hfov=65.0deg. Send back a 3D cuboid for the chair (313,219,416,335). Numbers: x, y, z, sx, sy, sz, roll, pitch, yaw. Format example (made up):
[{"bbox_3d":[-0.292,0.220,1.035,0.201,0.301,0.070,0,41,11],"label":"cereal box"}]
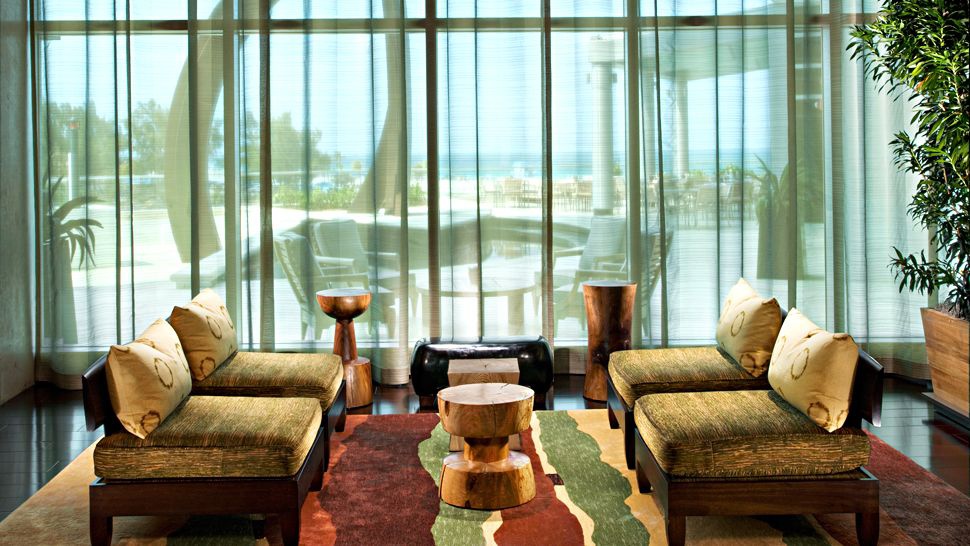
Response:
[{"bbox_3d":[-1.142,0.000,6.669,1.049,1.073,0.825,5,9,19],"label":"chair"}]

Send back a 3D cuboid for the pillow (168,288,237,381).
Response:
[{"bbox_3d":[-1.961,0.444,5.327,0.241,0.363,0.592,-1,9,1],"label":"pillow"}]

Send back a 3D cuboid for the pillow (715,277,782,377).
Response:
[{"bbox_3d":[1.879,0.399,5.420,0.219,0.395,0.575,2,28,3],"label":"pillow"}]

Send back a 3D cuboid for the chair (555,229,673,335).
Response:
[{"bbox_3d":[1.177,-0.062,7.046,1.047,0.879,0.771,-1,4,9],"label":"chair"}]

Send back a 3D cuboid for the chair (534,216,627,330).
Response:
[{"bbox_3d":[0.941,-0.074,7.214,0.897,1.053,0.802,0,1,1],"label":"chair"}]

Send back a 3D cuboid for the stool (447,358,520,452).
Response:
[{"bbox_3d":[-0.019,0.984,5.760,0.624,0.598,0.577,-1,1,2],"label":"stool"}]

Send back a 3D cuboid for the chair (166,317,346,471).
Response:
[{"bbox_3d":[-1.457,0.731,5.642,1.441,0.632,0.933,0,2,-3],"label":"chair"}]

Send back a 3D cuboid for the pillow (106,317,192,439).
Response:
[{"bbox_3d":[-2.056,0.673,4.711,0.265,0.419,0.653,-3,9,3],"label":"pillow"}]
